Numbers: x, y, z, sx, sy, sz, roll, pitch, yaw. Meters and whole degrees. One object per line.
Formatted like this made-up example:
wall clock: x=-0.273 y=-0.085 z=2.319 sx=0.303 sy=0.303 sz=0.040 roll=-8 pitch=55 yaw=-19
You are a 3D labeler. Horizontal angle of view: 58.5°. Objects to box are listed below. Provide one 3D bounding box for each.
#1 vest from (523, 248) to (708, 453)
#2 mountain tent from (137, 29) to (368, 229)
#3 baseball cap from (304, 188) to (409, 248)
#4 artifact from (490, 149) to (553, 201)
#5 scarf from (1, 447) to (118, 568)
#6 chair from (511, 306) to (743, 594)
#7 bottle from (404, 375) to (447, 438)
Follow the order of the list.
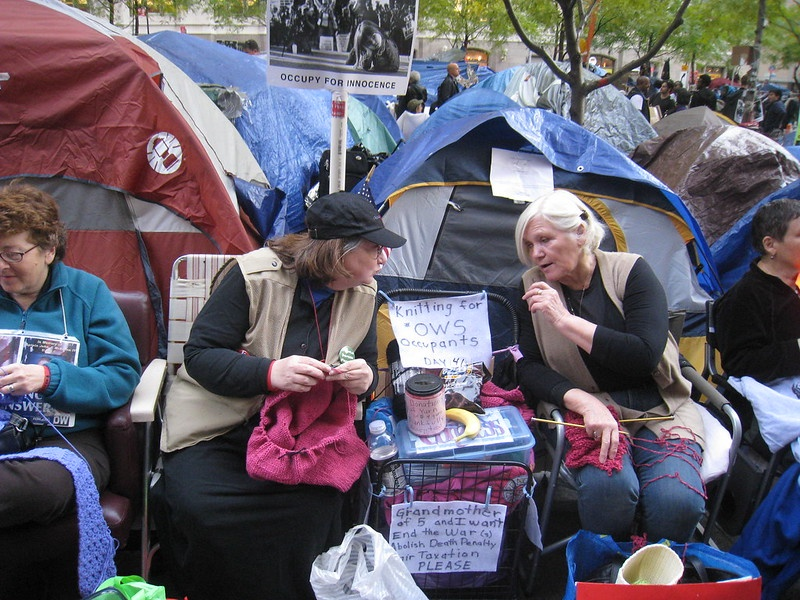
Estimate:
vest: x=1.118 y=0.291 z=3.862 sx=0.769 sy=1.047 sz=0.534 roll=-20 pitch=16 yaw=36
mountain tent: x=-1.520 y=-2.020 z=7.766 sx=2.372 sy=1.085 sz=2.394 roll=17 pitch=19 yaw=36
baseball cap: x=-0.241 y=-0.405 z=3.488 sx=0.405 sy=0.202 sz=0.264 roll=1 pitch=15 yaw=5
artifact: x=0.789 y=-0.794 z=4.610 sx=0.421 sy=0.328 sz=0.253 roll=6 pitch=12 yaw=5
scarf: x=-1.557 y=0.998 z=3.317 sx=0.466 sy=0.543 sz=0.256 roll=11 pitch=14 yaw=28
chair: x=1.421 y=0.882 z=4.315 sx=1.074 sy=2.054 sz=1.305 roll=2 pitch=6 yaw=-8
bottle: x=0.099 y=0.524 z=3.726 sx=0.260 sy=0.312 sz=0.268 roll=-5 pitch=26 yaw=-6
